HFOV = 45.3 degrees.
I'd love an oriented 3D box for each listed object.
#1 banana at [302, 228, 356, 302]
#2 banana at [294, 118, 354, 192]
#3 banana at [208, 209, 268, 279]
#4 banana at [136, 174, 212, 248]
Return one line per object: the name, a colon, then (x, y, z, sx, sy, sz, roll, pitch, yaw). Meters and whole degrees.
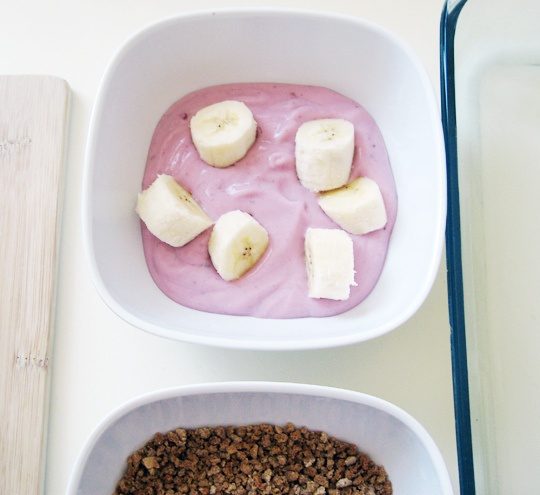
banana: (0.119, 0.032, 1.258, 0.081, 0.040, 0.146, -4, 92, -12)
banana: (0.112, -0.183, 1.356, 0.108, 0.128, 0.123, -14, 36, -9)
banana: (-0.064, -0.017, 1.298, 0.122, 0.098, 0.085, -30, 58, -14)
banana: (-0.194, -0.075, 1.289, 0.154, 0.079, 0.114, 35, 66, 23)
